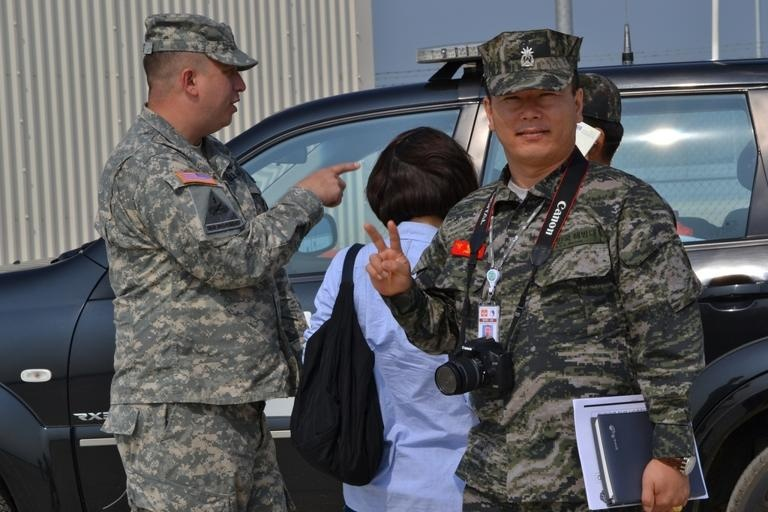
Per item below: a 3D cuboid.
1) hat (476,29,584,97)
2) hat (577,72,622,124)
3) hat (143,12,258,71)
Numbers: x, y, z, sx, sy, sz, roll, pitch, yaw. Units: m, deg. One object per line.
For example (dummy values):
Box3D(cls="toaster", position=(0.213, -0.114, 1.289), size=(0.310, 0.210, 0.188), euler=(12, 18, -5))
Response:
Box3D(cls="hat", position=(0.629, -0.837, 4.685), size=(0.444, 0.242, 0.552), euler=(-3, 11, 11))
Box3D(cls="hat", position=(1.026, -0.749, 5.174), size=(0.178, 0.150, 0.256), euler=(7, 10, 23))
Box3D(cls="hat", position=(-0.847, -0.955, 4.966), size=(0.428, 0.194, 0.269), euler=(-2, 3, -6))
